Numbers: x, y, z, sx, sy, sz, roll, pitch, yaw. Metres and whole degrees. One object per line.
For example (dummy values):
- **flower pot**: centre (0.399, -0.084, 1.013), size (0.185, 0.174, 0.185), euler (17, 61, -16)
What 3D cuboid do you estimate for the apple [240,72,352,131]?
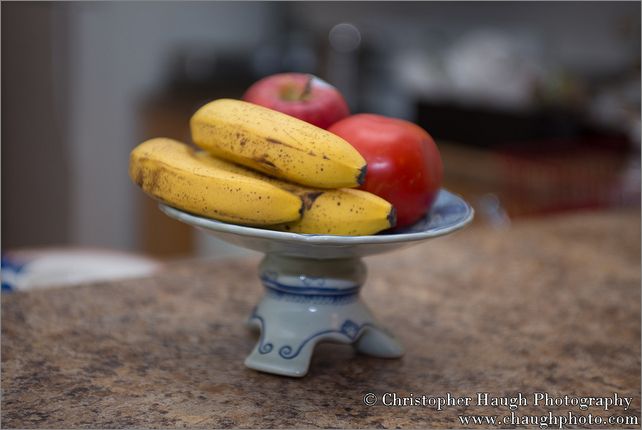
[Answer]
- **apple**: centre (-0.043, -0.194, 1.032), size (0.119, 0.114, 0.121), euler (28, 25, 37)

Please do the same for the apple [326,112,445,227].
- **apple**: centre (0.110, -0.078, 1.043), size (0.164, 0.157, 0.169), euler (5, 7, 5)

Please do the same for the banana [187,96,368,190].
- **banana**: centre (-0.075, -0.106, 0.954), size (0.300, 0.093, 0.090), euler (19, 42, 22)

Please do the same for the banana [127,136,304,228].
- **banana**: centre (-0.170, -0.043, 0.950), size (0.277, 0.098, 0.094), euler (17, 7, 15)
